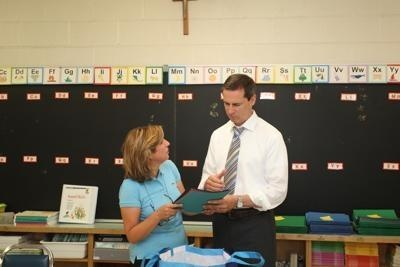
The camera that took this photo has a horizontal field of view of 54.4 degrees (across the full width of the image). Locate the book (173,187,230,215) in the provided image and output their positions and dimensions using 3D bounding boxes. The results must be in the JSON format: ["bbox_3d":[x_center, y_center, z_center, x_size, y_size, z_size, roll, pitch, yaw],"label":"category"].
[{"bbox_3d":[0.005,0.529,2.979,0.358,0.223,0.304,-2,-2,24],"label":"book"}]

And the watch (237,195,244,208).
[{"bbox_3d":[0.324,0.560,3.136,0.052,0.086,0.074,0,10,-5],"label":"watch"}]

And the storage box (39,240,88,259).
[{"bbox_3d":[-1.447,1.258,4.205,0.391,0.135,0.318,1,-4,4],"label":"storage box"}]

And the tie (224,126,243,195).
[{"bbox_3d":[0.285,0.227,3.322,0.141,0.600,0.028,2,-11,32],"label":"tie"}]
